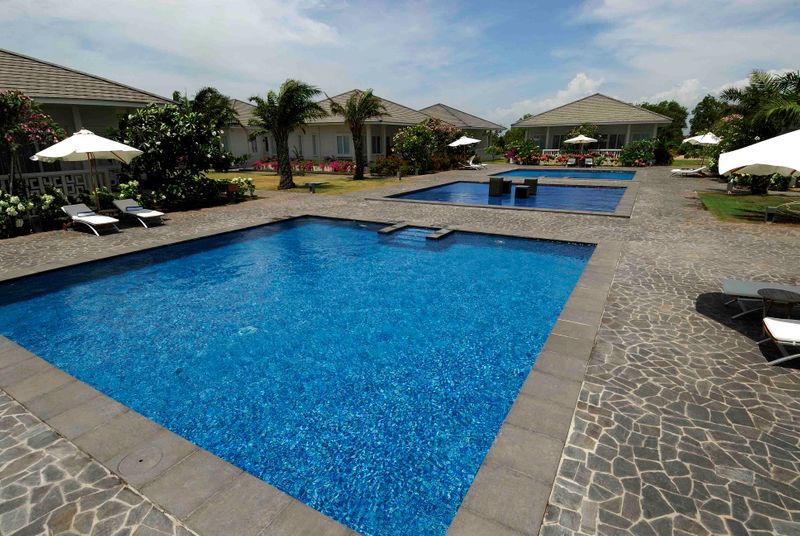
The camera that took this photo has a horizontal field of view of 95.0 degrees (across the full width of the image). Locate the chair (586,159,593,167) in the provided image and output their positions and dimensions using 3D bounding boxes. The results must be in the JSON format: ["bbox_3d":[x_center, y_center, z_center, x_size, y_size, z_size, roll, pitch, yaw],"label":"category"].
[{"bbox_3d":[19.305,-10.820,37.125,1.047,0.574,0.897,1,34,13],"label":"chair"}]

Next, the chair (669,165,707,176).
[{"bbox_3d":[22.969,-7.711,28.971,2.394,0.637,1.616,7,17,33],"label":"chair"}]

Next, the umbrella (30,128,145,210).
[{"bbox_3d":[-12.248,-3.804,14.293,4.115,3.110,2.440,15,24,35],"label":"umbrella"}]

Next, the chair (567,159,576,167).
[{"bbox_3d":[17.729,-11.136,38.263,0.799,0.948,1.053,11,28,33],"label":"chair"}]
